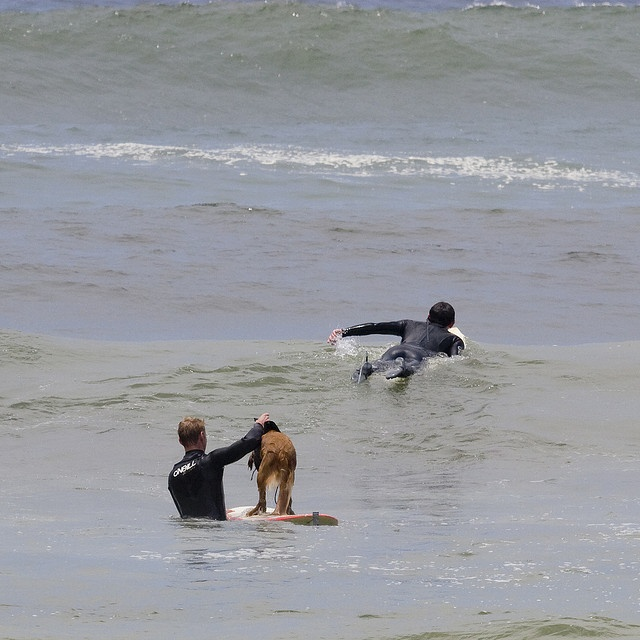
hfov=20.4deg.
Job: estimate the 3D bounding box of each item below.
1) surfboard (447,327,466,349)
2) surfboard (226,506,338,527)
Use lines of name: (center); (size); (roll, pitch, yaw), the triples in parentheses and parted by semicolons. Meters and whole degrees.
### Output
surfboard: (3.775, 0.578, 52.087); (0.612, 0.193, 0.637); (45, 5, 27)
surfboard: (-1.022, 5.018, 45.321); (2.833, 0.404, 0.525); (7, 18, 10)
